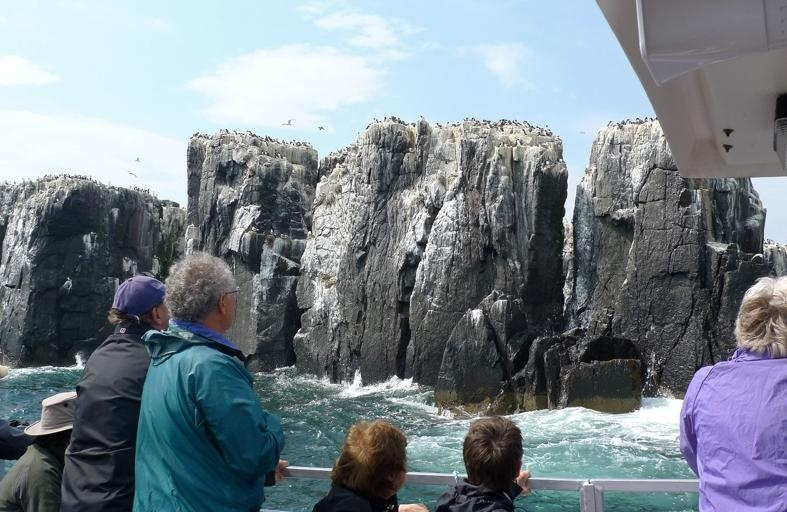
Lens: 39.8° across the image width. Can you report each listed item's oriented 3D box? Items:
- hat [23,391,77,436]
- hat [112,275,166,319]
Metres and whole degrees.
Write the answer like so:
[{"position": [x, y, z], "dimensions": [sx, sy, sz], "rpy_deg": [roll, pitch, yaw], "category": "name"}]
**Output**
[{"position": [-6.399, 2.981, 20.172], "dimensions": [0.896, 0.354, 0.809], "rpy_deg": [-4, -1, -25], "category": "hat"}, {"position": [-4.690, 0.743, 19.956], "dimensions": [0.660, 0.550, 0.922], "rpy_deg": [8, 34, 13], "category": "hat"}]
